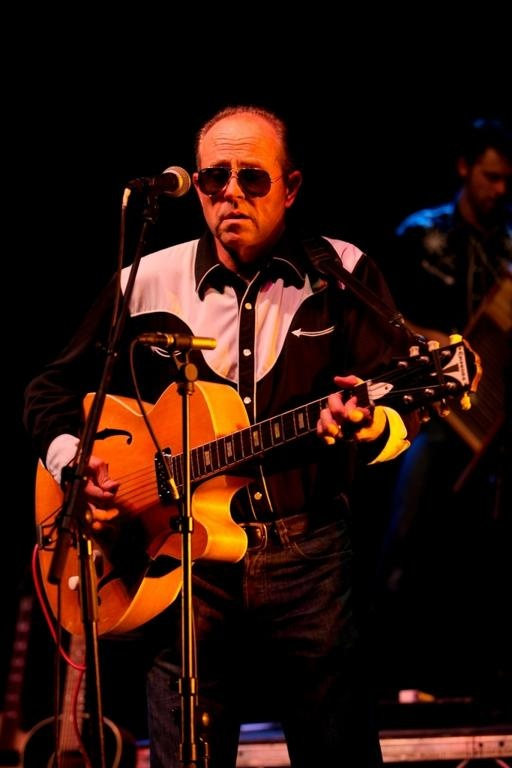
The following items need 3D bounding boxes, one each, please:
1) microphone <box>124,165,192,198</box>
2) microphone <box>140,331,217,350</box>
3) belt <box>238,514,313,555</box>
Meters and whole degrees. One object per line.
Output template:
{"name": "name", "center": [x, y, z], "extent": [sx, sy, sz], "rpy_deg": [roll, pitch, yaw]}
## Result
{"name": "microphone", "center": [-0.297, -0.636, 2.865], "extent": [0.155, 0.092, 0.218], "rpy_deg": [5, 14, 16]}
{"name": "microphone", "center": [-0.224, -0.107, 2.505], "extent": [0.263, 0.053, 0.068], "rpy_deg": [0, 7, -30]}
{"name": "belt", "center": [0.068, 0.490, 2.991], "extent": [0.190, 0.103, 0.047], "rpy_deg": [-10, -34, 15]}
